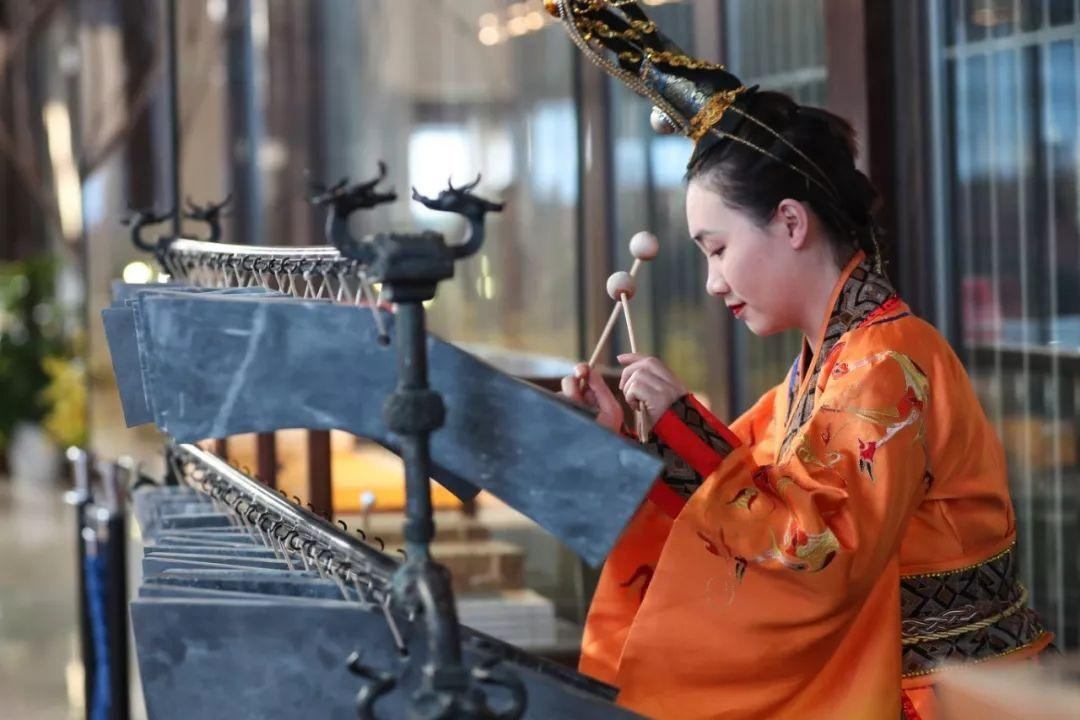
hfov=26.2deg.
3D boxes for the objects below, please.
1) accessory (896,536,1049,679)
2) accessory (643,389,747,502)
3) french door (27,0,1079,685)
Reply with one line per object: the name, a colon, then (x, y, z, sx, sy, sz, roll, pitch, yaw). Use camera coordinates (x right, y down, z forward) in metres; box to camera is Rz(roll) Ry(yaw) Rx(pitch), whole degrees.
accessory: (0.959, 0.565, 5.366, 0.333, 0.166, 0.258, -14, -2, -11)
accessory: (0.354, 0.206, 5.386, 0.233, 0.234, 0.097, -49, -5, 3)
french door: (-0.046, 0.023, 5.651, 1.993, 1.625, 1.438, -4, -1, -10)
